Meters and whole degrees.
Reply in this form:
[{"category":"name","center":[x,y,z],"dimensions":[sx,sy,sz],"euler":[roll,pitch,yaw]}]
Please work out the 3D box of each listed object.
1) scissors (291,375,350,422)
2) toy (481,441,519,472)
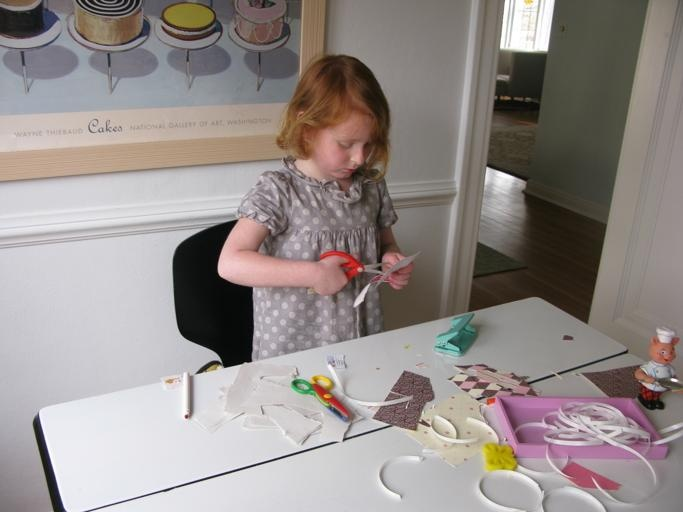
[{"category":"scissors","center":[-0.042,0.291,1.024],"dimensions":[0.057,0.024,0.138],"euler":[-1,15,-32]},{"category":"toy","center":[0.305,0.385,0.926],"dimensions":[0.073,0.024,0.065],"euler":[-5,20,-6]}]
